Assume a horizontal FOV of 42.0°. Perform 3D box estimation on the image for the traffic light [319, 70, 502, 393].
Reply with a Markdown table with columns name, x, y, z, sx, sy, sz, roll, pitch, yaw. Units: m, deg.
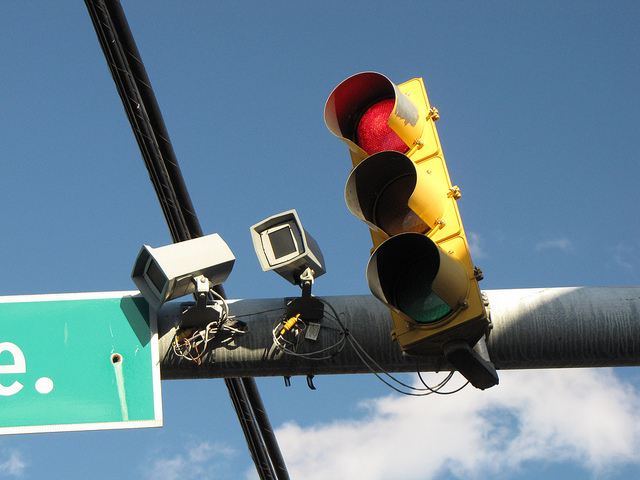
| name | x | y | z | sx | sy | sz | roll | pitch | yaw |
| --- | --- | --- | --- | --- | --- | --- | --- | --- | --- |
| traffic light | 0.821 | -0.089 | 7.460 | 0.996 | 2.699 | 0.929 | -16 | -6 | 9 |

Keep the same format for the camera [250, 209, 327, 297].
| name | x | y | z | sx | sy | sz | roll | pitch | yaw |
| --- | --- | --- | --- | --- | --- | --- | --- | --- | --- |
| camera | -0.311 | 0.079 | 7.687 | 0.421 | 0.757 | 0.483 | -26 | -22 | 30 |
